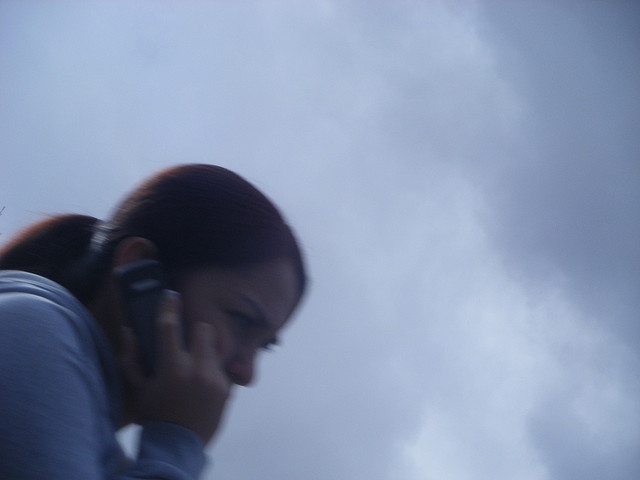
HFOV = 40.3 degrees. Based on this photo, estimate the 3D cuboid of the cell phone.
[{"bbox_3d":[-0.348,0.147,1.685,0.099,0.193,0.057,9,2,-13],"label":"cell phone"}]
